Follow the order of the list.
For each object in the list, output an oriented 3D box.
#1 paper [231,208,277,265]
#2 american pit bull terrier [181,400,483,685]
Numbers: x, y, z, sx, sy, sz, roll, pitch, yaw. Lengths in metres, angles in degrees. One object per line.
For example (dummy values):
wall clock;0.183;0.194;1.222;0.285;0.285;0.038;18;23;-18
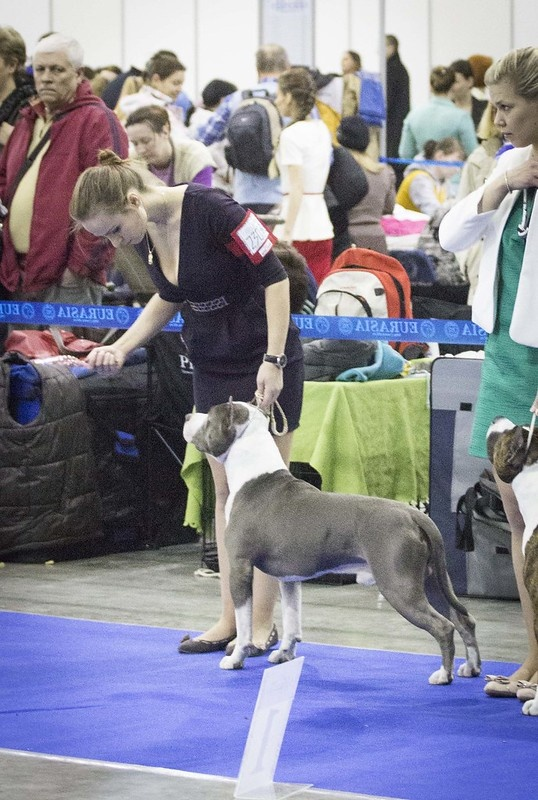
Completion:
paper;-0.047;-0.444;3.327;0.125;0.124;0.045;43;-16;-12
american pit bull terrier;0.143;0.396;3.337;0.848;0.755;0.272;1;3;30
